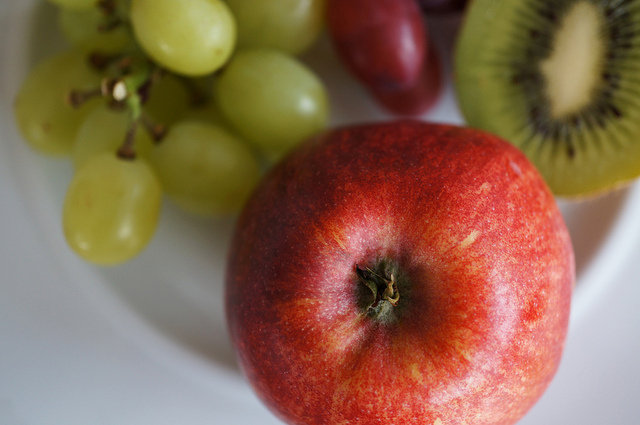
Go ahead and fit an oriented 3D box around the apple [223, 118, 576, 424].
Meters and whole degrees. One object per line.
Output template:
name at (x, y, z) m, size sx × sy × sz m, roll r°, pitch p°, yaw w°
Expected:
apple at (0.087, 0.066, 0.920) m, size 0.337 × 0.380 × 0.404 m, roll 1°, pitch -65°, yaw 0°
